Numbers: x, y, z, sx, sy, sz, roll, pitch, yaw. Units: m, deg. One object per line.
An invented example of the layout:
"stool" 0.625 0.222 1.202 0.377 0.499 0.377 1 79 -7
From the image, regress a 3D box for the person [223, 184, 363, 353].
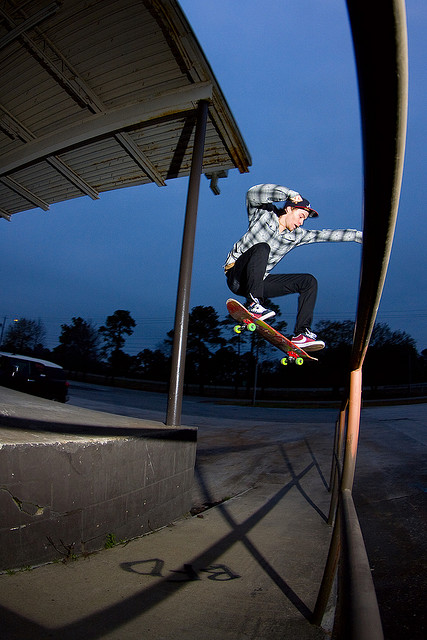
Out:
"person" 0.734 -0.592 4.877 1.264 1.860 1.066 5 0 1

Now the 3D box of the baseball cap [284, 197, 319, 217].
"baseball cap" 0.960 -1.208 4.809 0.305 0.096 0.203 22 0 9
